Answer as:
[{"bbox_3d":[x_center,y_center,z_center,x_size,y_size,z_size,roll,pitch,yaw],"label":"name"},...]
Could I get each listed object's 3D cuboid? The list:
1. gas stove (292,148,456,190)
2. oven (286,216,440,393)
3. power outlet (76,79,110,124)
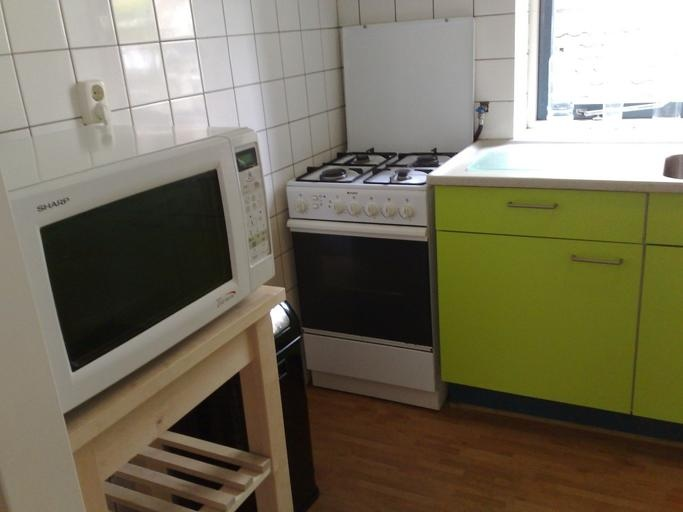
[{"bbox_3d":[0.165,-0.417,2.408,0.712,0.065,0.825,-1,21,5],"label":"gas stove"},{"bbox_3d":[0.152,0.119,2.606,0.729,1.092,0.709,3,22,18],"label":"oven"},{"bbox_3d":[-0.725,-0.440,1.485,0.067,0.142,0.102,7,19,15],"label":"power outlet"}]
